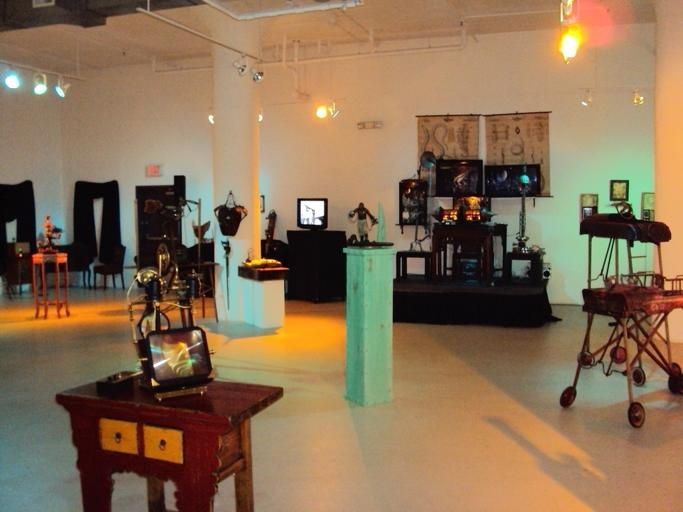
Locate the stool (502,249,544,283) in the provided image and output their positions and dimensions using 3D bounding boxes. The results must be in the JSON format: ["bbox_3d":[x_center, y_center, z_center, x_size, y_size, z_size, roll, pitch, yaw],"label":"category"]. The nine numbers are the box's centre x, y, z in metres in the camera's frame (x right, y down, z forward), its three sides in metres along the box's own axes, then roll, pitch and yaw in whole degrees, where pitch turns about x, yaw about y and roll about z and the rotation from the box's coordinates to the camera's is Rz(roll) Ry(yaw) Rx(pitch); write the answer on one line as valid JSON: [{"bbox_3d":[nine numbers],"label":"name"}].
[{"bbox_3d":[3.272,0.164,10.624,0.670,0.630,1.142,2,9,17],"label":"stool"}]

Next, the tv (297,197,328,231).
[{"bbox_3d":[-0.606,-0.877,12.488,0.641,0.723,0.225,1,0,16],"label":"tv"}]

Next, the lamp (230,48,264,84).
[{"bbox_3d":[-1.548,-3.111,9.659,0.473,0.514,0.377,-2,8,-8],"label":"lamp"}]

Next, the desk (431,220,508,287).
[{"bbox_3d":[2.262,-0.103,10.717,1.239,1.001,1.216,-4,11,4],"label":"desk"}]

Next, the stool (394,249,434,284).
[{"bbox_3d":[1.351,0.310,11.180,0.795,0.762,0.459,1,0,16],"label":"stool"}]

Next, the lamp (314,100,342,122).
[{"bbox_3d":[-0.288,-2.991,12.177,0.506,0.561,0.350,5,15,9],"label":"lamp"}]

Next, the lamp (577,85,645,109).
[{"bbox_3d":[5.009,-2.924,10.835,1.145,0.348,0.170,2,8,13],"label":"lamp"}]
